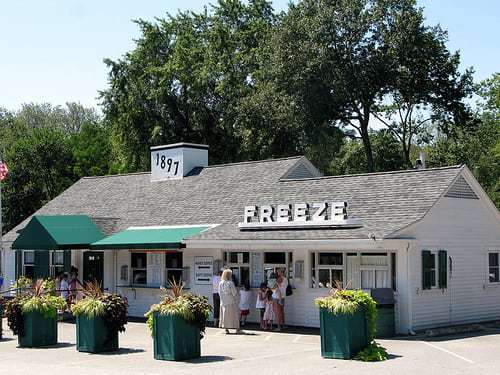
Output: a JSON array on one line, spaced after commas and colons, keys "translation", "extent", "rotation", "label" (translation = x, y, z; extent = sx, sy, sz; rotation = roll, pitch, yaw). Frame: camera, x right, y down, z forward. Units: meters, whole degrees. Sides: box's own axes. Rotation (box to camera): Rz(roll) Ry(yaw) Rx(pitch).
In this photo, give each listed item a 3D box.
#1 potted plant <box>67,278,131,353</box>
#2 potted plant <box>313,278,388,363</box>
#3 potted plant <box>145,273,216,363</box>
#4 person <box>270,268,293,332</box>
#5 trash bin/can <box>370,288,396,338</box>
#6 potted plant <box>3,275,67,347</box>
[{"translation": [-4.867, 4.306, 20.935], "extent": [1.864, 2.238, 1.779], "rotation": [-4, -5, 36], "label": "potted plant"}, {"translation": [3.281, 4.016, 19.689], "extent": [2.097, 2.719, 2.027], "rotation": [-4, -4, 41], "label": "potted plant"}, {"translation": [-2.152, 4.153, 19.506], "extent": [1.796, 2.326, 1.814], "rotation": [-1, -3, -13], "label": "potted plant"}, {"translation": [1.255, 4.510, 25.118], "extent": [0.600, 2.458, 0.681], "rotation": [-9, -12, 44], "label": "person"}, {"translation": [5.063, 4.640, 23.280], "extent": [1.087, 1.773, 1.076], "rotation": [-7, -8, 38], "label": "trash bin/can"}, {"translation": [-7.535, 4.387, 22.148], "extent": [1.946, 2.344, 2.016], "rotation": [-6, -9, 42], "label": "potted plant"}]
